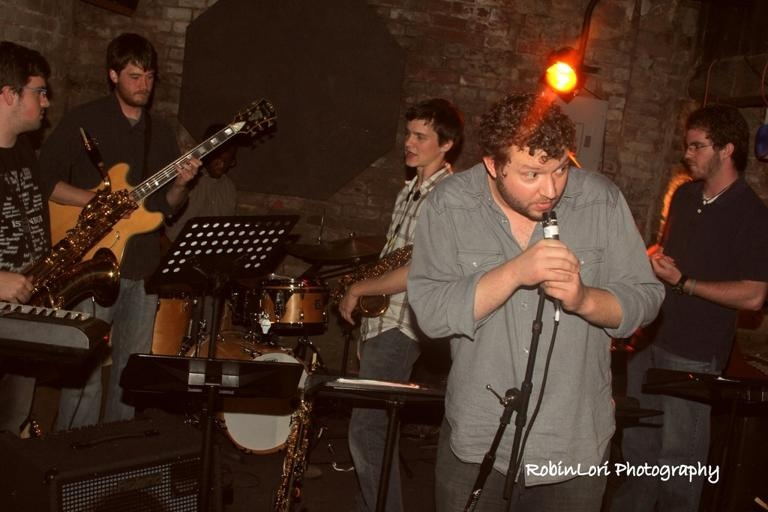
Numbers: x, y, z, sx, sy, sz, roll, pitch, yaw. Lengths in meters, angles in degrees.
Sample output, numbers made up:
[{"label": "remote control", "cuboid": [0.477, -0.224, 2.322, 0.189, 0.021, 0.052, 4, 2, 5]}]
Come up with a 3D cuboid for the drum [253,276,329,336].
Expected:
[{"label": "drum", "cuboid": [-0.899, 0.476, 6.197, 0.597, 0.416, 0.576, 1, 1, 0]}]

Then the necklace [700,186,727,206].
[{"label": "necklace", "cuboid": [2.539, -0.462, 4.860, 0.162, 0.043, 0.117, -45, 35, -23]}]

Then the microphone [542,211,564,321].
[{"label": "microphone", "cuboid": [0.805, 0.044, 3.064, 0.137, 0.523, 0.139, 2, 4, -1]}]

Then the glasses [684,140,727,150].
[{"label": "glasses", "cuboid": [2.450, -0.851, 4.790, 0.138, 0.040, 0.132, 3, 4, -3]}]

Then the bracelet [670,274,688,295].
[{"label": "bracelet", "cuboid": [2.223, 0.219, 4.702, 0.107, 0.142, 0.136, 26, 10, 35]}]

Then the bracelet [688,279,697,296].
[{"label": "bracelet", "cuboid": [2.294, 0.236, 4.678, 0.074, 0.092, 0.035, 1, 10, 22]}]

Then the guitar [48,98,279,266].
[{"label": "guitar", "cuboid": [-1.978, -0.678, 5.458, 1.931, 0.672, 0.252, -36, 14, -21]}]
